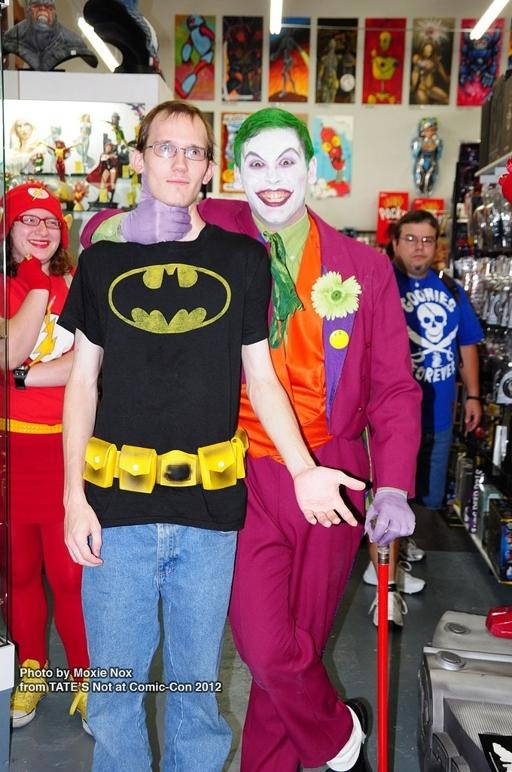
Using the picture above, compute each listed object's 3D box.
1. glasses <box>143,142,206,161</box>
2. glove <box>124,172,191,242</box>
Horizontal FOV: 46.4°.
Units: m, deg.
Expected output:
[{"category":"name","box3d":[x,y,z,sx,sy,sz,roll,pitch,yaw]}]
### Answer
[{"category":"glasses","box3d":[-0.141,-0.416,1.064,0.104,0.028,0.039,0,15,-12]},{"category":"glove","box3d":[-0.174,-0.311,1.065,0.131,0.117,0.088,10,16,23]}]
